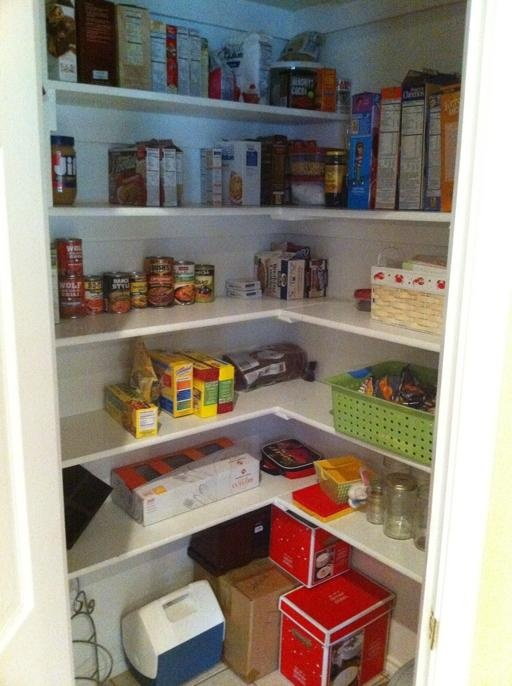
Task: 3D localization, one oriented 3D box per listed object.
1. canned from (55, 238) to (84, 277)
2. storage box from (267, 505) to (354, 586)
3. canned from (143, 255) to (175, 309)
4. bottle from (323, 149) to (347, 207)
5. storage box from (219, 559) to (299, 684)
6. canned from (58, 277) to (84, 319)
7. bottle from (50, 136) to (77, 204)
[{"bbox_3d":[-0.509,-0.232,1.523,0.070,0.100,0.055,-3,12,-23],"label":"canned"},{"bbox_3d":[0.211,0.745,2.137,0.257,0.233,0.250,0,10,-44],"label":"storage box"},{"bbox_3d":[-0.316,-0.200,1.822,0.107,0.162,0.108,5,17,6],"label":"canned"},{"bbox_3d":[0.262,-0.532,1.801,0.075,0.171,0.066,0,20,6],"label":"bottle"},{"bbox_3d":[0.009,1.020,2.013,0.236,0.419,0.315,-12,23,-36],"label":"storage box"},{"bbox_3d":[-0.517,-0.126,1.560,0.066,0.120,0.055,-2,11,-20],"label":"canned"},{"bbox_3d":[-0.497,-0.440,1.434,0.072,0.174,0.048,-7,14,-41],"label":"bottle"}]
